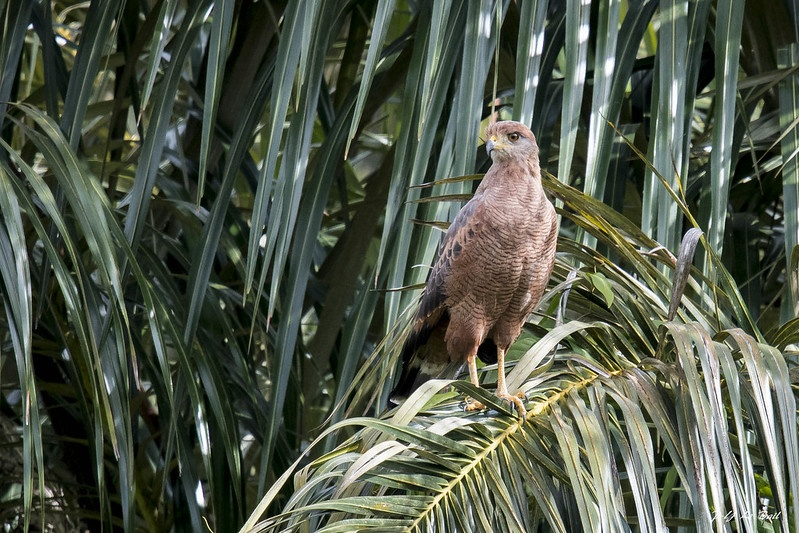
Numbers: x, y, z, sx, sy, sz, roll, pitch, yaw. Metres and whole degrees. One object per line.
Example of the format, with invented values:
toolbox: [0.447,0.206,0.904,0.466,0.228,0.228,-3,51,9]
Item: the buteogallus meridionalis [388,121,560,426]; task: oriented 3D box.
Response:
buteogallus meridionalis: [0.265,-0.001,4.927,0.275,0.935,0.561,6,-3,-43]
